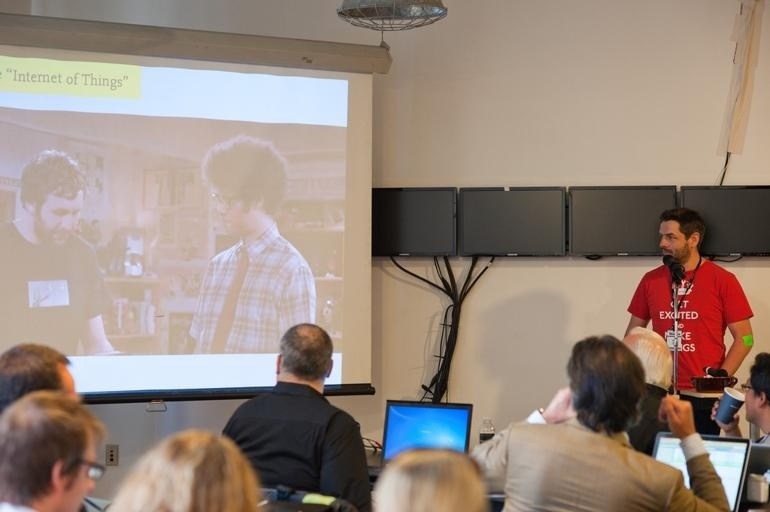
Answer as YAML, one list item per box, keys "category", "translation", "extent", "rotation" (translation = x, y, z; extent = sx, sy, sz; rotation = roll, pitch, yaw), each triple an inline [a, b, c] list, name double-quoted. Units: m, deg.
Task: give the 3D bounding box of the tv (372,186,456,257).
- category: "tv"
  translation: [0.236, -0.266, 5.930]
  extent: [0.483, 0.389, 0.052]
  rotation: [0, -3, 2]

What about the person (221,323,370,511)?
- category: "person"
  translation: [-0.513, 0.854, 4.184]
  extent: [0.746, 1.277, 0.658]
  rotation: [5, 15, 12]

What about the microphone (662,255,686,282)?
- category: "microphone"
  translation: [1.972, 0.066, 5.272]
  extent: [0.082, 0.089, 0.277]
  rotation: [-15, 31, -4]

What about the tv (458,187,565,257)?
- category: "tv"
  translation: [0.978, -0.273, 5.917]
  extent: [0.812, 0.518, 0.083]
  rotation: [1, 3, 5]
